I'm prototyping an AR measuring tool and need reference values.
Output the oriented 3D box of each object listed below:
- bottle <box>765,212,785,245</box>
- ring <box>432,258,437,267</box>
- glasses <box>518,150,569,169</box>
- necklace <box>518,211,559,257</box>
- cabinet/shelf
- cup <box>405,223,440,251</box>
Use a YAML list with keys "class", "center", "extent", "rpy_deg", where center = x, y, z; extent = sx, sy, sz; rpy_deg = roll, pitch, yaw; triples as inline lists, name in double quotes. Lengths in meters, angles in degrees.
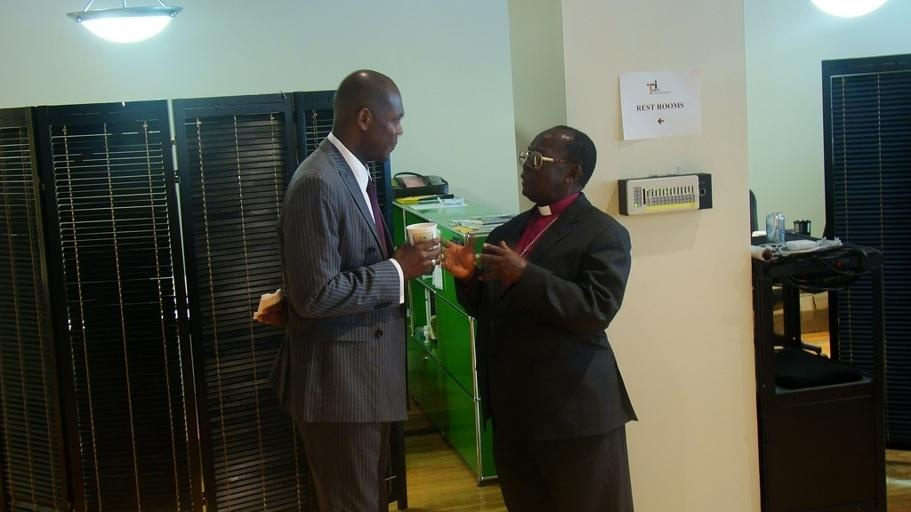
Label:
- class: "bottle"
  center: [2.133, -0.189, 4.503]
  extent: [0.171, 0.199, 0.093]
  rpy_deg: [-6, 4, -34]
- class: "ring"
  center: [-0.100, 0.033, 3.509]
  extent: [0.030, 0.026, 0.028]
  rpy_deg: [-12, -17, -4]
- class: "glasses"
  center: [0.432, -0.511, 3.586]
  extent: [0.154, 0.050, 0.125]
  rpy_deg: [3, 4, -29]
- class: "necklace"
  center: [0.435, -0.125, 3.684]
  extent: [0.243, 0.087, 0.171]
  rpy_deg: [-49, 21, -11]
- class: "cabinet/shelf"
  center: [-0.016, 0.648, 4.659]
  extent: [0.752, 1.833, 2.091]
  rpy_deg: [0, 7, -9]
- class: "cup"
  center: [-0.162, -0.103, 3.578]
  extent: [0.147, 0.110, 0.141]
  rpy_deg: [-3, 8, 1]
